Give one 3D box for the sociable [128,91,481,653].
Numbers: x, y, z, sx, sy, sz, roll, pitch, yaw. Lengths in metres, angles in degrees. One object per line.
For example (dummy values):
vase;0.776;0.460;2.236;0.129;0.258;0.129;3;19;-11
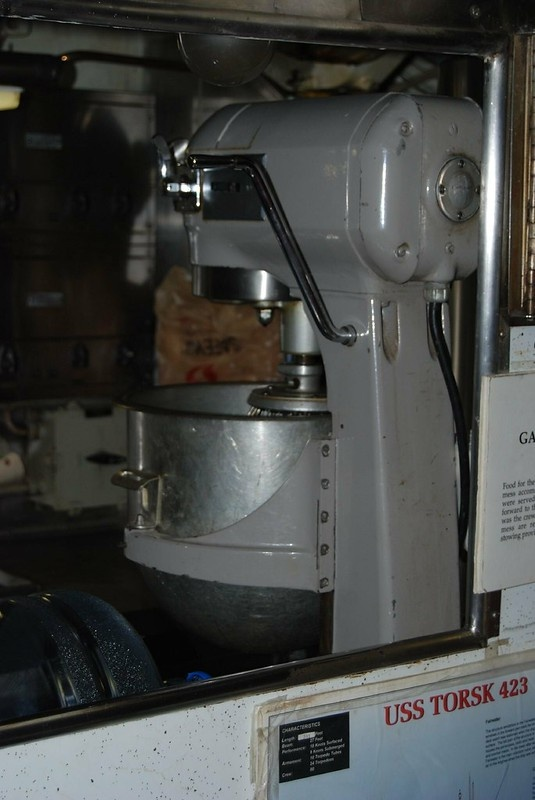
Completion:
sociable;0.087;-0.034;1.564;0.381;0.970;0.769;-3;-1;-44
